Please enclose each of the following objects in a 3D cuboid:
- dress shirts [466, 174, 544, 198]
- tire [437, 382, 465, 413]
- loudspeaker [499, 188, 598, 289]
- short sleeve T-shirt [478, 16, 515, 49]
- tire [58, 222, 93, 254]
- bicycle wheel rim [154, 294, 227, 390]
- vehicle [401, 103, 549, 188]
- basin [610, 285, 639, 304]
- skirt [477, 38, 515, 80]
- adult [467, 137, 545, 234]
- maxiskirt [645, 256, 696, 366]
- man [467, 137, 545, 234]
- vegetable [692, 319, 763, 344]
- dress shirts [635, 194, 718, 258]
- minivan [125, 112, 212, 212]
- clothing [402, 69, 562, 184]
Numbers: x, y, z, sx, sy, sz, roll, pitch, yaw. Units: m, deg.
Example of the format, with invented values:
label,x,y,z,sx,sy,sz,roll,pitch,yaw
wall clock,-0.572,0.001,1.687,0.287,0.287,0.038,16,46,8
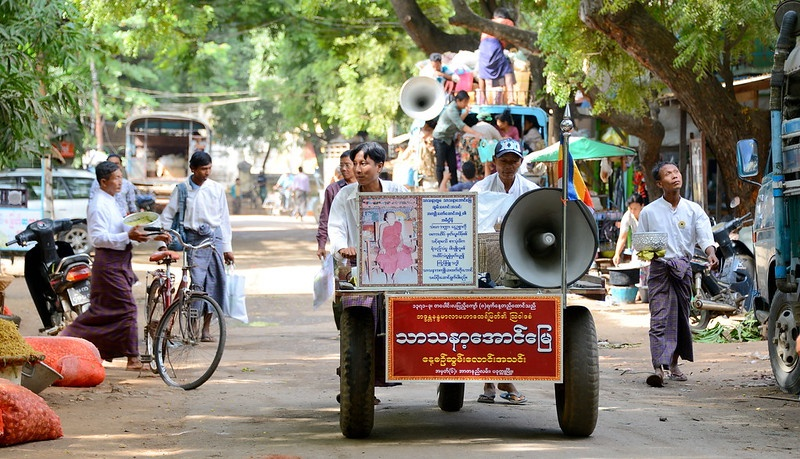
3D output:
label,x,y,z,sx,sy,sz,roll,pitch,yaw
dress shirts,1.356,-0.594,13.934,1.044,0.375,0.332,1,-5,-1
tire,0.656,2.166,13.399,0.401,0.393,0.383,1,3,-4
loudspeaker,1.766,0.171,12.629,1.150,1.186,1.543,1,-8,-11
short sleeve T-shirt,2.183,-4.516,23.161,0.826,0.835,0.312,22,25,12
tire,-6.503,0.181,20.508,0.680,0.625,0.232,9,3,0
bicycle wheel rim,-2.978,1.543,14.354,0.963,1.297,0.875,-1,8,-13
vehicle,1.528,-1.764,21.575,2.954,1.800,1.592,0,-1,-7
basin,4.720,1.377,21.667,0.484,0.218,0.478,0,-4,0
skirt,2.203,-3.975,23.810,0.839,0.957,0.582,-6,9,24
adult,1.344,-0.517,13.246,1.359,1.167,0.749,2,4,-9
maxiskirt,3.900,1.222,14.826,0.646,1.648,0.499,2,8,11
man,1.338,-0.509,13.246,1.356,1.144,0.718,1,3,-15
vegetable,5.641,1.752,17.630,0.915,0.489,0.437,-3,-6,13
dress shirts,3.990,0.014,15.186,1.503,1.104,0.806,0,-4,0
minivan,-9.334,-2.099,39.979,3.720,3.210,5.463,2,-13,-26
clothing,1.040,-2.763,23.700,3.339,1.965,1.266,9,-18,48
